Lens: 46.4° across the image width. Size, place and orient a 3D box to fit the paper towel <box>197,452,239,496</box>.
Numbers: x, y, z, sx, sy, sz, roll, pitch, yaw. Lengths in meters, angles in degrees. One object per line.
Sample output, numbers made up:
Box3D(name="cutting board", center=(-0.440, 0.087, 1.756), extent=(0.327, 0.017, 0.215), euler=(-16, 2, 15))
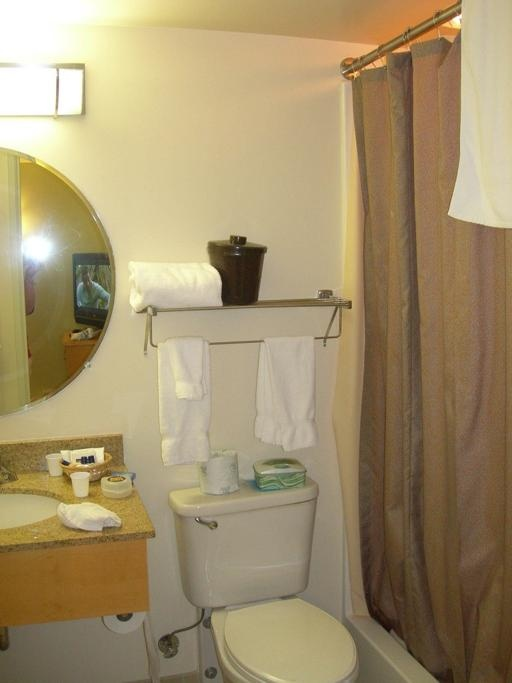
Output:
Box3D(name="paper towel", center=(-0.118, 0.402, 1.867), extent=(0.118, 0.121, 0.122), euler=(-9, 8, -38))

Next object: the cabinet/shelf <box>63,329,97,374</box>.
Box3D(name="cabinet/shelf", center=(-0.525, 0.018, 1.832), extent=(0.105, 0.161, 0.158), euler=(-2, 14, -15))

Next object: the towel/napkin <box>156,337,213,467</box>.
Box3D(name="towel/napkin", center=(-0.210, 0.175, 1.775), extent=(0.153, 0.370, 0.099), euler=(-1, 7, -10))

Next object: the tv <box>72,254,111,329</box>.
Box3D(name="tv", center=(-0.464, -0.147, 1.761), extent=(0.137, 0.197, 0.008), euler=(-5, 12, -44))

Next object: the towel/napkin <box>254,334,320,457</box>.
Box3D(name="towel/napkin", center=(0.097, 0.147, 1.876), extent=(0.258, 0.503, 0.118), euler=(-2, 7, -14))

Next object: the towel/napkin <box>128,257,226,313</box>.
Box3D(name="towel/napkin", center=(-0.219, -0.156, 1.663), extent=(0.347, 0.182, 0.182), euler=(-2, 6, -14))

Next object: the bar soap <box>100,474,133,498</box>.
Box3D(name="bar soap", center=(-0.373, 0.393, 1.615), extent=(0.083, 0.047, 0.077), euler=(-2, 7, -14))
